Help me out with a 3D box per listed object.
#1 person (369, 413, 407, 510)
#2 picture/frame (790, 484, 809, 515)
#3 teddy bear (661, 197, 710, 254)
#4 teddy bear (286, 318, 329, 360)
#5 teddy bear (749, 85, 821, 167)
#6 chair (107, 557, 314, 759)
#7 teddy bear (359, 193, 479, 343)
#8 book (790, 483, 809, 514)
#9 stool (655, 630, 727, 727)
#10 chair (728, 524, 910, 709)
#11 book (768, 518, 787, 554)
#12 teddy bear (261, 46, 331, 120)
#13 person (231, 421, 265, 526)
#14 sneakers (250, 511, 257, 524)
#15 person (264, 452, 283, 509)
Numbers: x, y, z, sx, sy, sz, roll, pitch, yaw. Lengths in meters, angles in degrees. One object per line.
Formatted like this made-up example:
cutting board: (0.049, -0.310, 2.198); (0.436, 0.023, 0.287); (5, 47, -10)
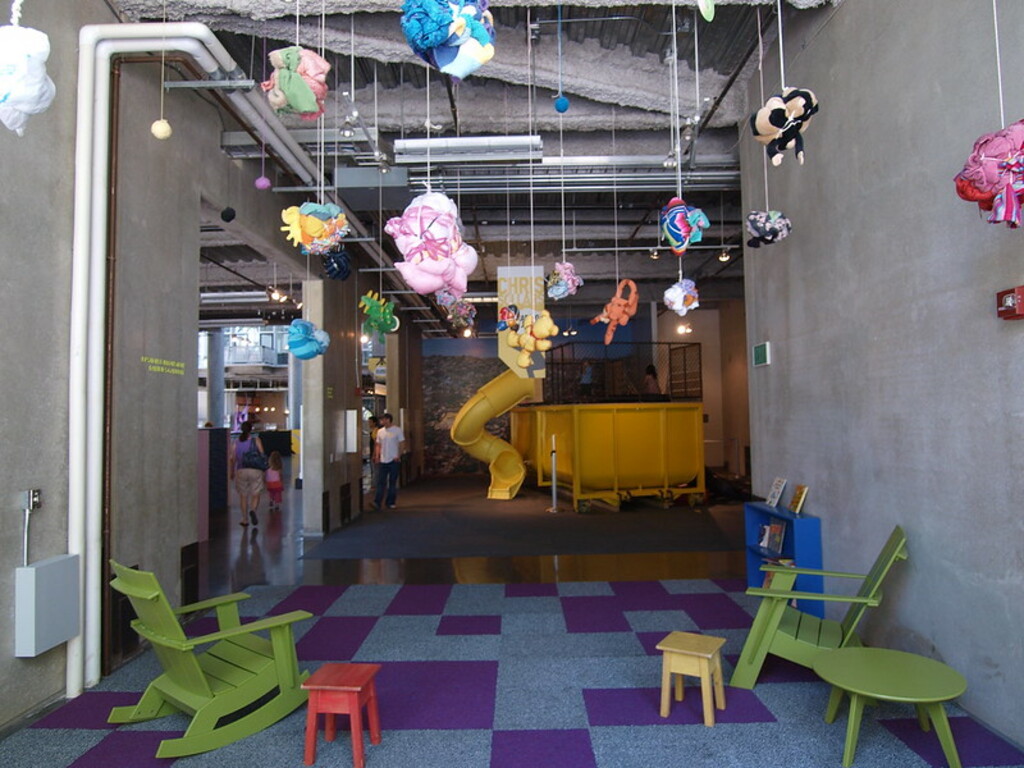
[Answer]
person: (-2.050, 1.239, 12.999); (0.471, 1.552, 1.136); (-4, 0, -11)
picture/frame: (2.530, 1.008, 6.909); (0.054, 0.233, 0.163); (12, -11, 1)
teddy bear: (1.315, -1.290, 6.103); (0.362, 0.186, 0.425); (-34, -22, 36)
teddy bear: (-1.907, -0.405, 7.459); (0.431, 0.359, 0.381); (-10, 23, -27)
teddy bear: (1.750, -1.634, 5.006); (0.389, 0.439, 0.347); (-4, 1, 35)
chair: (-2.160, 1.894, 5.517); (1.445, 1.409, 1.024); (-3, 3, -42)
teddy bear: (-1.137, -1.329, 8.999); (0.951, 1.610, 0.682); (-26, -16, 7)
book: (2.532, 1.001, 6.908); (0.054, 0.236, 0.163); (11, -10, 2)
stool: (1.233, 2.000, 5.360); (0.465, 0.499, 0.503); (-1, 2, -3)
chair: (2.225, 1.596, 5.691); (0.957, 1.137, 0.839); (5, 3, 27)
book: (2.370, 1.355, 6.977); (0.045, 0.366, 0.297); (6, -6, -6)
teddy bear: (-1.400, -1.917, 5.103); (0.330, 0.496, 0.473); (8, 11, 12)
person: (-3.781, 1.248, 11.302); (0.409, 1.602, 1.463); (-4, 0, -20)
sneakers: (-3.700, 1.893, 11.188); (0.069, 0.197, 0.078); (-3, 15, 2)
person: (-3.779, 1.507, 12.441); (0.241, 0.959, 1.249); (-4, 0, -19)
